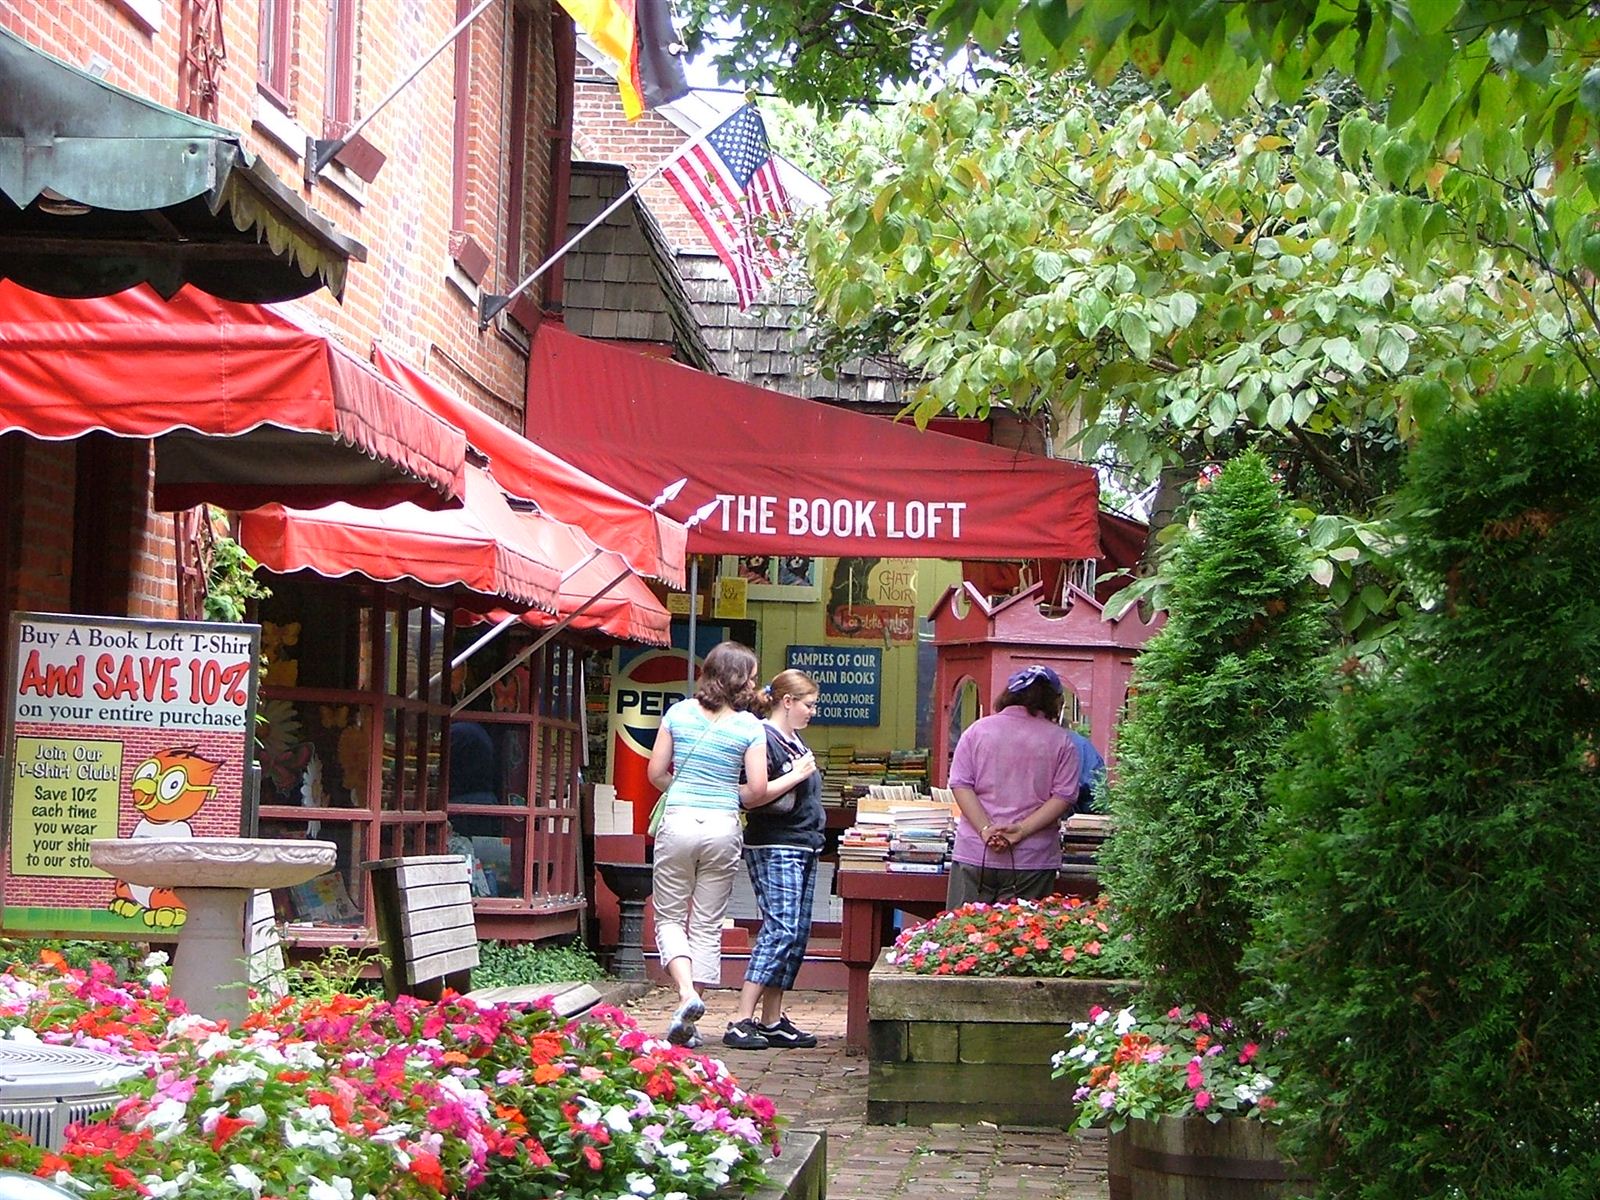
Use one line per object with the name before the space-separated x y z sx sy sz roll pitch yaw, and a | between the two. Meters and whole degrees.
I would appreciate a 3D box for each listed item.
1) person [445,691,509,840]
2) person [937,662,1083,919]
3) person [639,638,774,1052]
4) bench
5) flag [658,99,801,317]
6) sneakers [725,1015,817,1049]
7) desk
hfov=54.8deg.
person | -2.532 1.353 11.980 0.230 0.920 0.503 -4 -8 30
person | 1.277 1.116 9.349 0.759 1.424 0.367 -1 -6 4
person | -0.554 1.435 9.316 0.713 2.434 0.803 0 -7 -5
bench | -1.545 1.393 6.672 1.060 0.846 1.147 -3 -6 9
flag | -0.387 -3.642 14.167 0.143 1.396 1.445 -18 19 37
sneakers | -0.207 2.710 9.699 0.622 0.255 0.214 1 -5 -4
desk | 0.592 2.243 9.952 0.715 1.099 0.726 -1 -7 3
